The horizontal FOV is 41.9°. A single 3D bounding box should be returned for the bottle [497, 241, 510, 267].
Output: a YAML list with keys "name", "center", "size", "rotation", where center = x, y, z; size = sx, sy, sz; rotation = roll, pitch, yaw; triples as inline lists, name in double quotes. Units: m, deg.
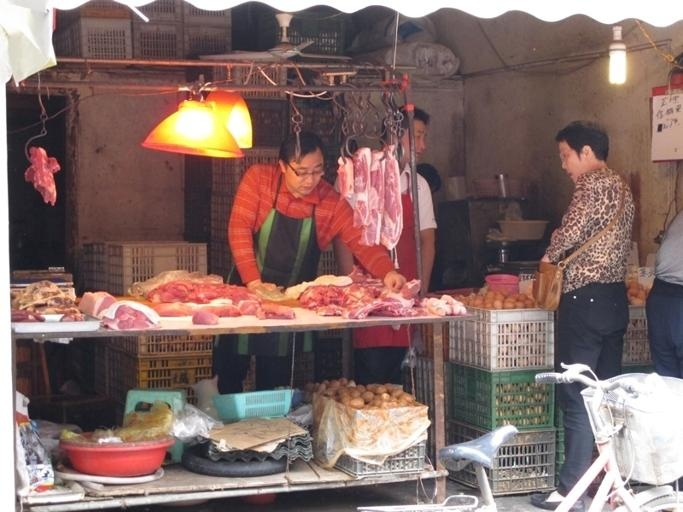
- name: "bottle"
  center: [1.629, -0.025, 8.958]
  size: [0.115, 0.242, 0.252]
  rotation: [2, 4, 10]

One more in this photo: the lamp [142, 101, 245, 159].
- name: "lamp"
  center: [-1.136, -0.897, 6.555]
  size: [0.486, 0.241, 0.507]
  rotation: [1, 1, 30]

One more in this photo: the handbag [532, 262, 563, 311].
- name: "handbag"
  center: [1.561, 0.238, 6.724]
  size: [0.156, 0.425, 0.332]
  rotation: [3, 1, -18]

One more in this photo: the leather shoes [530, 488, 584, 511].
- name: "leather shoes"
  center: [1.624, 1.844, 6.716]
  size: [0.386, 0.154, 0.155]
  rotation: [2, 1, 35]

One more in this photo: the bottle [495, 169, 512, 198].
- name: "bottle"
  center: [1.692, -0.722, 9.286]
  size: [0.156, 0.253, 0.196]
  rotation: [2, 4, 9]

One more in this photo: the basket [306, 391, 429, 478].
- name: "basket"
  center: [0.218, 1.348, 6.885]
  size: [0.771, 0.521, 1.042]
  rotation: [-6, 5, -23]

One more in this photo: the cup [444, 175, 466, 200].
- name: "cup"
  center: [1.296, -0.774, 10.090]
  size: [0.213, 0.270, 0.265]
  rotation: [1, 4, 6]

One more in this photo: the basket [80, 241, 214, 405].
- name: "basket"
  center: [-1.685, 0.583, 7.906]
  size: [0.964, 1.734, 0.763]
  rotation: [-2, 2, -16]
